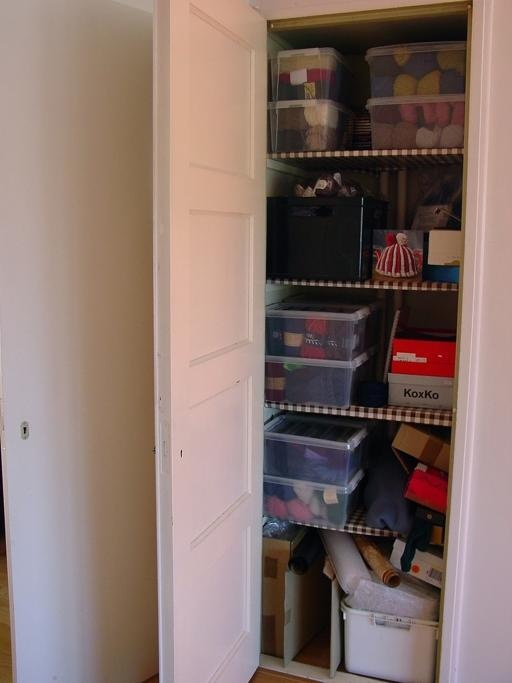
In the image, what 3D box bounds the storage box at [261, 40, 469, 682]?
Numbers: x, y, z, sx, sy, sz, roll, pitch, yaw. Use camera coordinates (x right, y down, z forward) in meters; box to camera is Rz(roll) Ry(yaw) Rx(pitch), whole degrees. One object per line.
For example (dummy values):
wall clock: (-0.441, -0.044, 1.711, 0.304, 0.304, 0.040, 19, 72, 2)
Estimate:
storage box: (0.338, 0.049, 1.973, 0.599, 2.009, 0.626, 3, 8, 19)
